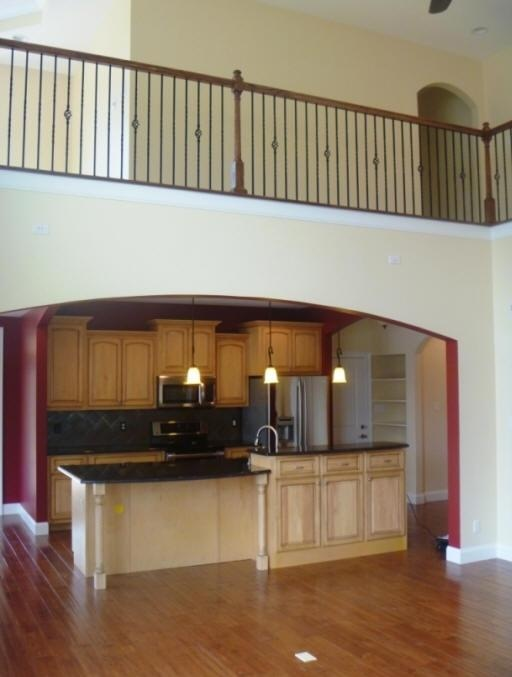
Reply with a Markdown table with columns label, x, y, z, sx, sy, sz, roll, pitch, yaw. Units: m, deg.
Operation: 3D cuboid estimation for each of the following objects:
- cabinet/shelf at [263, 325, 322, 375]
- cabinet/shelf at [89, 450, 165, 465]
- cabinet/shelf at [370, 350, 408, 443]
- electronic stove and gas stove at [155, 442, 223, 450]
| label | x | y | z | sx | sy | sz | roll | pitch | yaw |
| --- | --- | --- | --- | --- | --- | --- | --- | --- | --- |
| cabinet/shelf | 0.452 | 0.149 | 8.307 | 0.476 | 0.569 | 0.181 | 2 | -1 | -15 |
| cabinet/shelf | -1.473 | 1.367 | 7.213 | 0.901 | 0.113 | 0.193 | 3 | -6 | -29 |
| cabinet/shelf | 1.962 | 0.860 | 9.145 | 0.622 | 1.277 | 0.468 | -3 | -5 | 34 |
| electronic stove and gas stove | -0.814 | 1.354 | 7.839 | 0.742 | 0.060 | 0.370 | 2 | -6 | -20 |
